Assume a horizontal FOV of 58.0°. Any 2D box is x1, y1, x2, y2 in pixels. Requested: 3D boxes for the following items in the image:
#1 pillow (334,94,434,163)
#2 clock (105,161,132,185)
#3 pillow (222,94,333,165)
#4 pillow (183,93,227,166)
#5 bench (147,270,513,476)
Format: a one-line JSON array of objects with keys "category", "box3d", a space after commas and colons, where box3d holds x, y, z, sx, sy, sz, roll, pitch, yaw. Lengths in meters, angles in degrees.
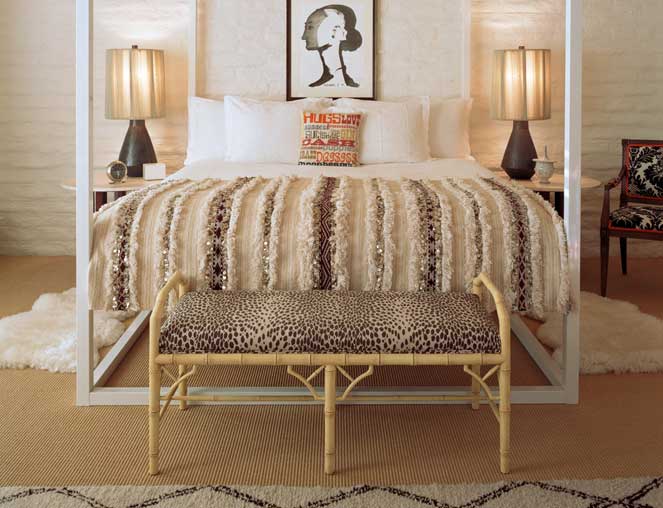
[{"category": "pillow", "box3d": [0.399, -0.789, 3.868, 0.247, 0.418, 0.636, -21, 17, -37]}, {"category": "clock", "box3d": [-1.343, -0.500, 3.781, 0.154, 0.164, 0.155, -2, 4, -43]}, {"category": "pillow", "box3d": [-0.335, -0.760, 3.723, 0.524, 0.329, 0.154, 3, -15, 7]}, {"category": "pillow", "box3d": [-0.818, -0.838, 4.106, 0.478, 0.421, 0.127, 2, 4, 19]}, {"category": "bench", "box3d": [0.009, 0.394, 2.154, 1.284, 0.651, 0.446, -2, 14, 1]}]
